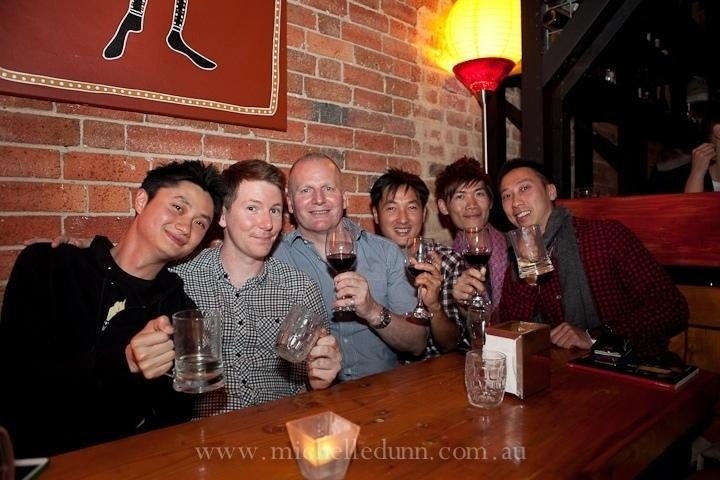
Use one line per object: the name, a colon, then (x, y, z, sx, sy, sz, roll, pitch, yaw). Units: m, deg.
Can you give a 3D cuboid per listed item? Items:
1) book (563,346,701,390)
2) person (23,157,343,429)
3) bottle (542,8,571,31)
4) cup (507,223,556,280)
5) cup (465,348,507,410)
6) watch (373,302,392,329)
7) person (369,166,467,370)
book: (1.206, 0.568, 2.115, 0.485, 0.039, 0.479, 0, 1, 27)
person: (-0.883, 0.263, 2.279, 1.019, 1.396, 0.780, 15, -17, -36)
bottle: (1.530, -1.771, 3.819, 0.141, 0.126, 0.326, -1, 6, 39)
cup: (0.823, 0.063, 2.338, 0.137, 0.273, 0.136, -4, 4, 0)
cup: (0.469, 0.540, 1.896, 0.196, 0.213, 0.186, -1, -2, 0)
watch: (0.121, 0.394, 2.499, 0.121, 0.112, 0.109, 16, -6, -33)
person: (0.311, 0.233, 3.284, 0.706, 1.363, 0.686, -8, 19, -4)
